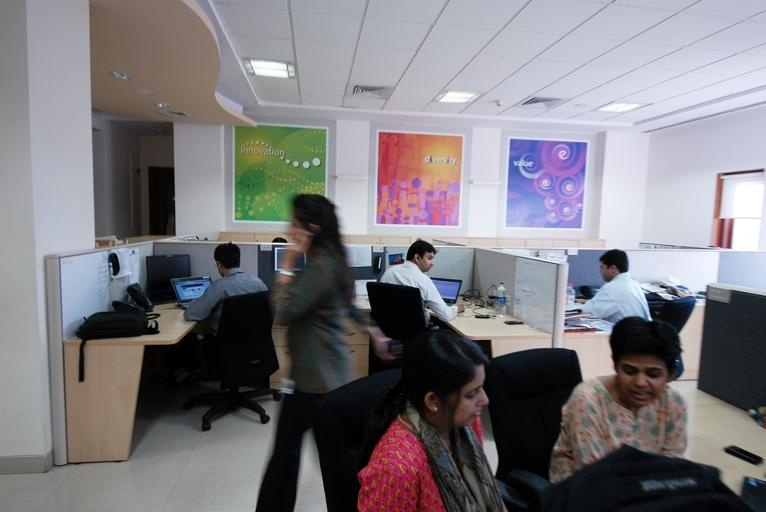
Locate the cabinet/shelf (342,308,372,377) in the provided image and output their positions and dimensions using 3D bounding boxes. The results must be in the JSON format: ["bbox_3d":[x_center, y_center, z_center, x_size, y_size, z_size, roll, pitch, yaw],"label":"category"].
[{"bbox_3d":[-0.261,0.962,4.869,0.283,0.476,0.309,-11,-34,7],"label":"cabinet/shelf"}]

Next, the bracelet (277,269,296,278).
[{"bbox_3d":[-0.599,0.102,3.096,0.170,0.041,0.048,6,9,42],"label":"bracelet"}]

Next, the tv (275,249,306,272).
[{"bbox_3d":[-0.645,0.021,3.545,0.234,0.162,0.032,1,-1,2],"label":"tv"}]

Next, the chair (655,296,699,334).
[{"bbox_3d":[2.571,0.493,4.534,0.346,0.367,0.303,10,14,31],"label":"chair"}]

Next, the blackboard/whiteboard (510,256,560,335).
[{"bbox_3d":[1.311,0.351,4.368,0.065,0.650,0.653,1,0,-12],"label":"blackboard/whiteboard"}]

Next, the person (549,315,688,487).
[{"bbox_3d":[1.286,0.787,2.738,0.717,0.885,0.263,-2,7,-18],"label":"person"}]

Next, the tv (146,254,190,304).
[{"bbox_3d":[-2.126,0.238,5.007,0.479,0.451,0.253,-1,2,-33],"label":"tv"}]

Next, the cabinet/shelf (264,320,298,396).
[{"bbox_3d":[-0.964,1.006,4.782,0.359,0.659,0.396,1,3,13],"label":"cabinet/shelf"}]

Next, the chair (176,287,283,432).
[{"bbox_3d":[-1.312,0.853,4.509,0.821,1.048,0.762,-4,3,-42],"label":"chair"}]

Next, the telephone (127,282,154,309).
[{"bbox_3d":[-2.187,0.371,4.621,0.092,0.239,0.192,-29,4,-2],"label":"telephone"}]

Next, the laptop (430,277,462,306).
[{"bbox_3d":[0.650,0.350,5.139,0.283,0.195,0.246,3,2,4],"label":"laptop"}]

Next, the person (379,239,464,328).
[{"bbox_3d":[0.347,0.149,4.866,0.706,0.985,0.780,-6,18,-18],"label":"person"}]

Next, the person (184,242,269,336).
[{"bbox_3d":[-1.379,0.326,4.604,0.714,0.879,0.519,-5,15,-42],"label":"person"}]

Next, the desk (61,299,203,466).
[{"bbox_3d":[-2.030,1.047,4.206,0.791,0.774,1.605,1,5,-12],"label":"desk"}]
